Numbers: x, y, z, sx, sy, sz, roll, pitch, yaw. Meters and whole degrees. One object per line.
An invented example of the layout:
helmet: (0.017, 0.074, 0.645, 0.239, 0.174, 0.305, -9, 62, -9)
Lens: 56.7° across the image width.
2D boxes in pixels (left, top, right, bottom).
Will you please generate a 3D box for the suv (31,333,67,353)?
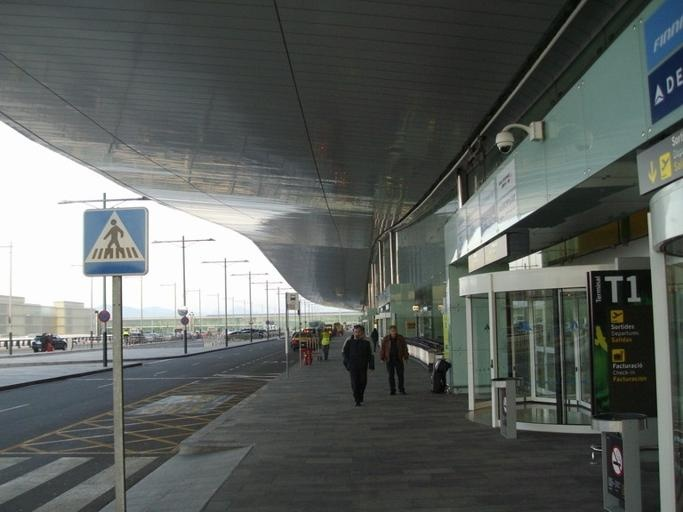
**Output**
suv: (-24.672, 7.284, 53.266, 1.514, 1.425, 3.057, -2, -2, 24)

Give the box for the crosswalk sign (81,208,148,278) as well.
crosswalk sign: (-2.306, -0.111, 6.465, 0.657, 0.745, 0.071, -1, -5, 0)

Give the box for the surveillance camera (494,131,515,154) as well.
surveillance camera: (2.779, -1.991, 10.801, 0.249, 0.331, 0.389, -5, -9, 20)

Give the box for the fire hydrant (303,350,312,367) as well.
fire hydrant: (-1.549, 4.473, 28.033, 0.336, 0.750, 1.261, -2, -9, -5)
